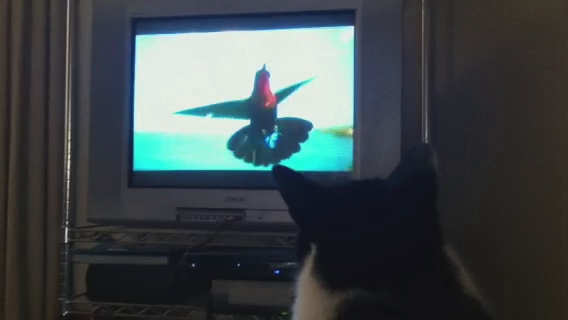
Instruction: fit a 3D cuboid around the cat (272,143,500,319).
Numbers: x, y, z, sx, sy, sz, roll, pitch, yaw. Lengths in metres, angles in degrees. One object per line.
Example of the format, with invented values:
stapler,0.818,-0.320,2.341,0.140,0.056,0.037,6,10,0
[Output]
cat,0.372,0.306,2.852,0.653,0.720,0.361,-9,1,3
